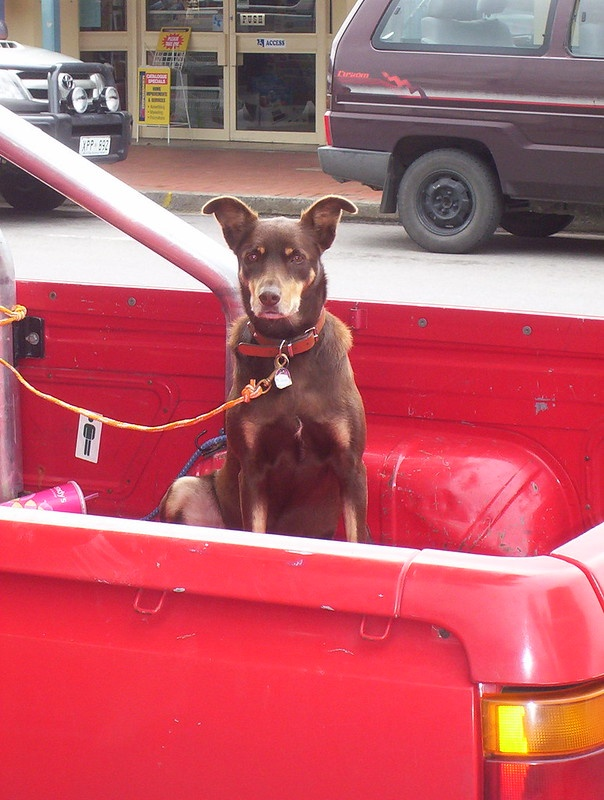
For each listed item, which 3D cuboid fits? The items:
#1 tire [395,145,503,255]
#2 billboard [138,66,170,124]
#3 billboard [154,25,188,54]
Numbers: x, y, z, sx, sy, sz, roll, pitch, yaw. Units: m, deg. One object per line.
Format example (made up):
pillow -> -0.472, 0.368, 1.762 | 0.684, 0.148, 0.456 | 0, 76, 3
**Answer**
tire -> 1.291, -1.815, 8.116 | 0.888, 0.813, 0.298 | 10, 27, 17
billboard -> -2.759, -5.914, 17.822 | 0.869, 1.086, 0.764 | 1, 15, -4
billboard -> -2.595, -7.181, 18.246 | 0.701, 0.460, 0.050 | 11, -3, 31
